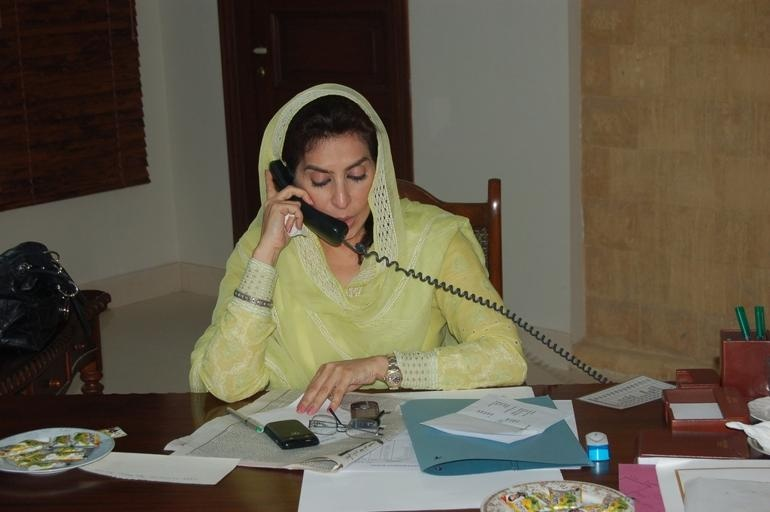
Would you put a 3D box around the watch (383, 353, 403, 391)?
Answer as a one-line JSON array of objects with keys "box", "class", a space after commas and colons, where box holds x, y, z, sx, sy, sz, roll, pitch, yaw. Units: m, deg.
[{"box": [0.023, 0.315, 1.820, 0.051, 0.082, 0.076, -1, 10, -10], "class": "watch"}]

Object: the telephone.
[{"box": [-0.219, -0.154, 2.018, 0.066, 0.280, 0.075, -32, -23, -26], "class": "telephone"}]

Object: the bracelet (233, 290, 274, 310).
[{"box": [-0.369, 0.120, 1.886, 0.064, 0.016, 0.064, 16, 3, -27], "class": "bracelet"}]

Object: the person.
[{"box": [-0.076, 0.183, 2.158, 0.979, 1.342, 0.798, 0, 18, 13], "class": "person"}]
